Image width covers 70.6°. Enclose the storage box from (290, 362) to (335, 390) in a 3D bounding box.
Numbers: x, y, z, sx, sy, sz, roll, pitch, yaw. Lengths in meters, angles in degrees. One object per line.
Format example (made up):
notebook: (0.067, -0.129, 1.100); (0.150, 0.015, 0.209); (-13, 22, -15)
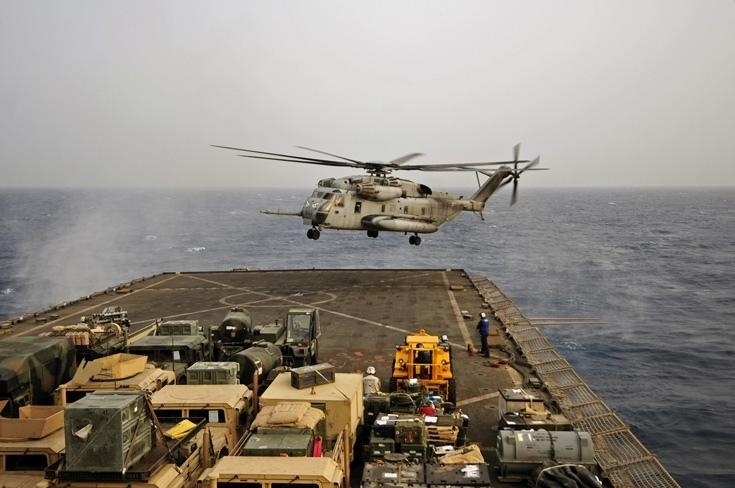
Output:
storage box: (-2.178, 4.919, 19.448); (1.968, 0.524, 0.909); (-3, 2, -28)
